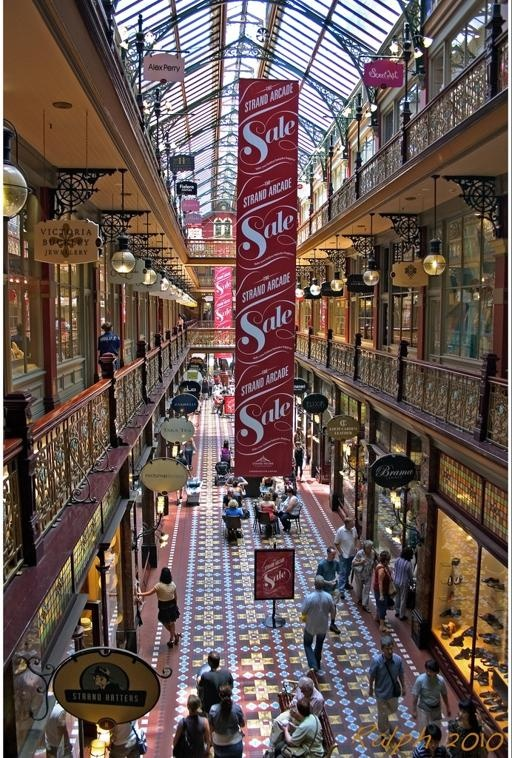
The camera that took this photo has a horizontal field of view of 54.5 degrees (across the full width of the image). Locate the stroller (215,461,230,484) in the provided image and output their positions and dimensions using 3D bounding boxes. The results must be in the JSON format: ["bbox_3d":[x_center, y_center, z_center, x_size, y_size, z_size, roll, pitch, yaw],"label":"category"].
[{"bbox_3d":[-1.287,3.478,18.313,0.440,0.850,0.803,1,-8,-5],"label":"stroller"}]
